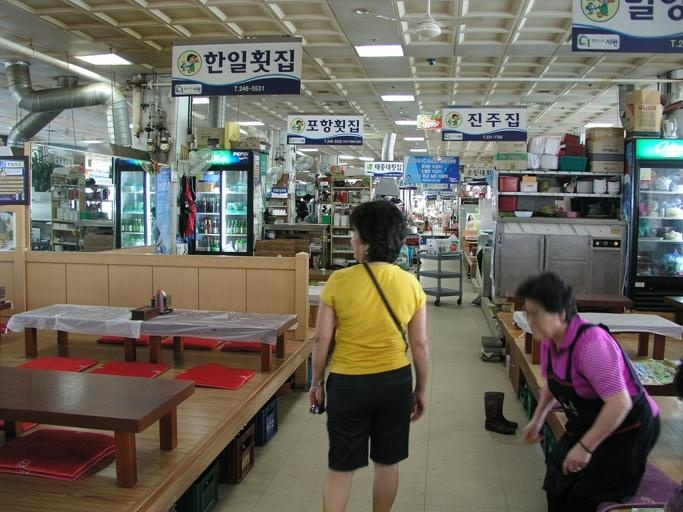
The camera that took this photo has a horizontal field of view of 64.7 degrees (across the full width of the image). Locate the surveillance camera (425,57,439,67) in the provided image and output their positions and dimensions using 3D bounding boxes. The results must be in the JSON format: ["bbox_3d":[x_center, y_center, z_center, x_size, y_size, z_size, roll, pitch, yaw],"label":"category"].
[{"bbox_3d":[1.600,-3.448,9.621,0.175,0.106,0.164,1,7,12],"label":"surveillance camera"}]

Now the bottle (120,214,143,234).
[{"bbox_3d":[-4.384,-0.646,11.220,0.458,0.373,0.205,1,-9,-10],"label":"bottle"}]

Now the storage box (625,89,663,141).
[{"bbox_3d":[4.691,-2.207,8.348,0.512,0.707,0.332,7,16,23],"label":"storage box"}]

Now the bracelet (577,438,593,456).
[{"bbox_3d":[1.301,1.024,2.900,0.077,0.050,0.070,2,6,-20],"label":"bracelet"}]

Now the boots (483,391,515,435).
[{"bbox_3d":[1.565,1.532,5.267,0.357,0.349,0.228,0,1,11],"label":"boots"}]

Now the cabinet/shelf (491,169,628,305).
[{"bbox_3d":[3.314,-0.295,8.106,2.571,2.171,1.227,0,-2,4],"label":"cabinet/shelf"}]

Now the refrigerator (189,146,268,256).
[{"bbox_3d":[-2.409,-1.105,11.226,1.321,2.188,0.581,3,15,7],"label":"refrigerator"}]

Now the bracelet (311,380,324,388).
[{"bbox_3d":[-0.151,0.814,3.428,0.068,0.059,0.040,5,-3,-21],"label":"bracelet"}]

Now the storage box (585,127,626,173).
[{"bbox_3d":[4.299,-1.694,8.709,0.510,0.712,0.312,3,15,6],"label":"storage box"}]

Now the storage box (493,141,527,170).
[{"bbox_3d":[2.795,-1.641,9.056,0.520,0.442,0.479,0,-2,2],"label":"storage box"}]

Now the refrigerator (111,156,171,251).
[{"bbox_3d":[-4.078,-1.038,11.002,1.521,1.808,0.769,10,17,30],"label":"refrigerator"}]
